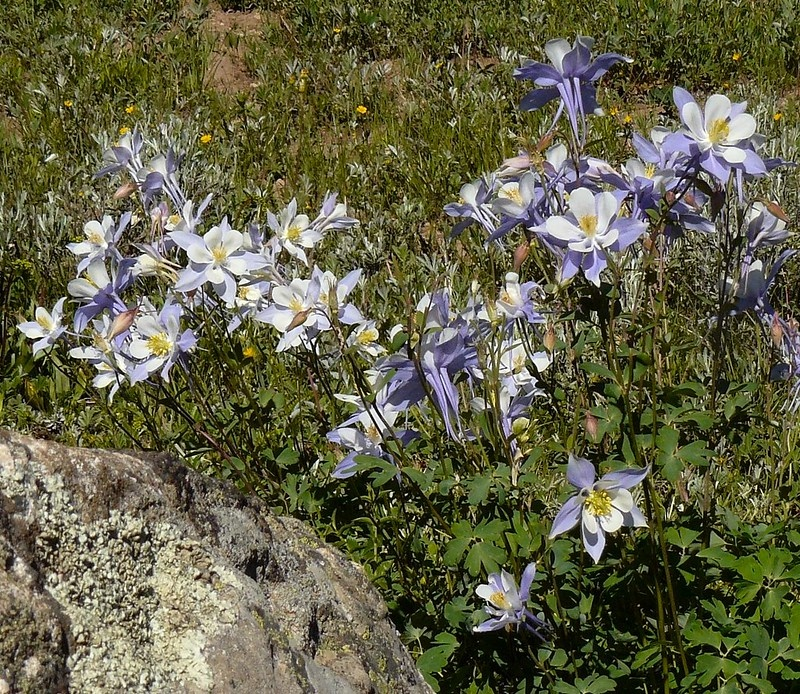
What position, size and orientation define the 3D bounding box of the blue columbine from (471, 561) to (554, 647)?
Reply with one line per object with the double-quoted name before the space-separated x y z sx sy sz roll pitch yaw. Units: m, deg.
"blue columbine" 0.323 0.728 2.859 0.242 0.114 0.225 -55 2 -1
